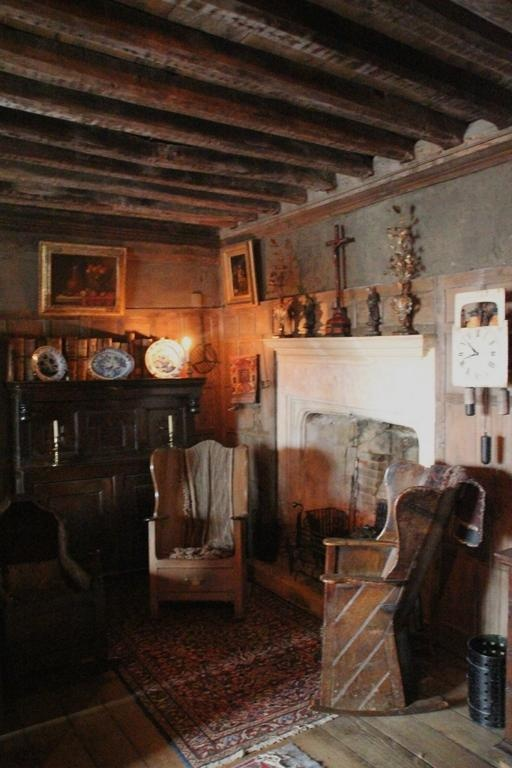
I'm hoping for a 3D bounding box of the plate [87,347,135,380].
[{"bbox_3d":[-1.213,-0.174,5.130,0.357,0.219,0.195,-3,2,-13],"label":"plate"}]

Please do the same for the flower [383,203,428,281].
[{"bbox_3d":[0.887,-0.891,3.834,0.153,0.526,0.295,-4,2,-16],"label":"flower"}]

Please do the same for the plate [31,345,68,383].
[{"bbox_3d":[-1.643,-0.165,4.945,0.190,0.251,0.263,-2,2,35],"label":"plate"}]

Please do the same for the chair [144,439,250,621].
[{"bbox_3d":[-0.401,1.065,4.551,0.731,1.121,0.642,-3,-6,6],"label":"chair"}]

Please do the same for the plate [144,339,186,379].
[{"bbox_3d":[-0.816,-0.231,5.478,0.327,0.267,0.098,-4,2,-36],"label":"plate"}]

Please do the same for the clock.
[{"bbox_3d":[1.194,-0.236,3.271,0.141,0.521,0.354,-4,2,-30],"label":"clock"}]

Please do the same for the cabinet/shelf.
[{"bbox_3d":[-1.249,0.767,4.679,1.766,1.833,0.526,-2,0,-36],"label":"cabinet/shelf"}]
